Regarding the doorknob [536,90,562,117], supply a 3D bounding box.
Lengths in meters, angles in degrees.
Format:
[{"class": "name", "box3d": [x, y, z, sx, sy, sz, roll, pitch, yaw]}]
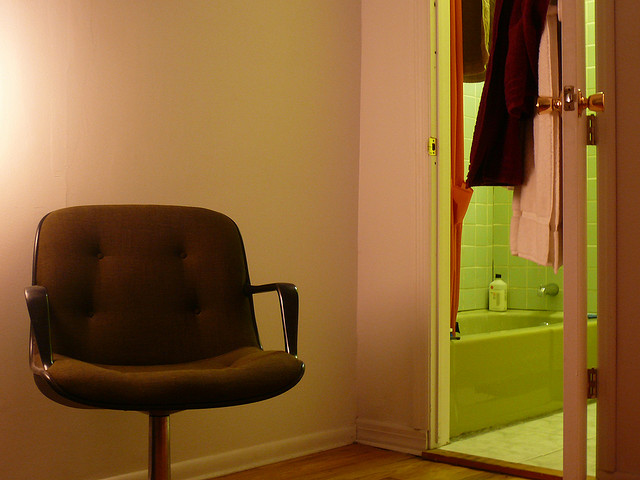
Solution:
[{"class": "doorknob", "box3d": [0.767, -0.461, 2.023, 0.076, 0.087, 0.055, -1, 0, 39]}]

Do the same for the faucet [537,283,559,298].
[{"class": "faucet", "box3d": [1.507, 0.325, 3.993, 0.100, 0.076, 0.083, 1, -2, -30]}]

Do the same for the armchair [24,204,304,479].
[{"class": "armchair", "box3d": [-0.445, 0.275, 1.764, 0.735, 0.823, 0.605, -1, 0, -26]}]

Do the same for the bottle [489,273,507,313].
[{"class": "bottle", "box3d": [1.224, 0.359, 4.158, 0.135, 0.246, 0.146, 0, 0, 0]}]
